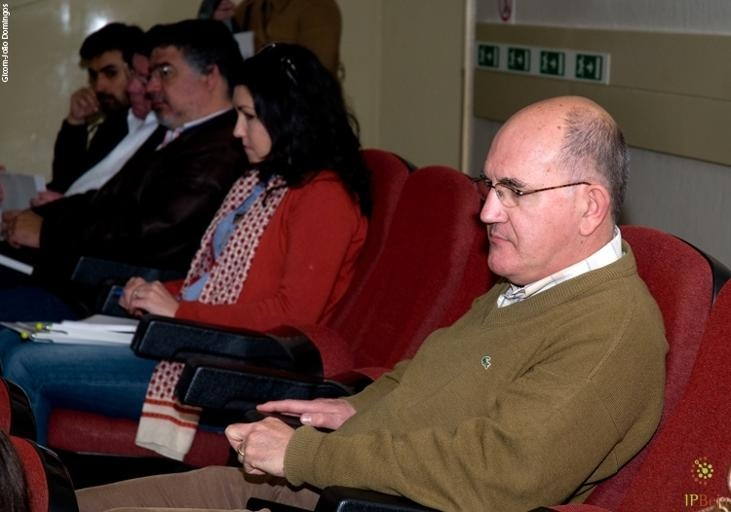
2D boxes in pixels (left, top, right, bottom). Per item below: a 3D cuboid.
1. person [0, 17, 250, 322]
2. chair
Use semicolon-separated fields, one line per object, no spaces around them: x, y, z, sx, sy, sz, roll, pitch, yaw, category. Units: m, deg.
-1.008;-0.458;3.589;1.365;1.704;1.161;4;4;-20;person
-0.339;0.152;2.245;1.376;1.098;1.013;7;-4;-27;chair
